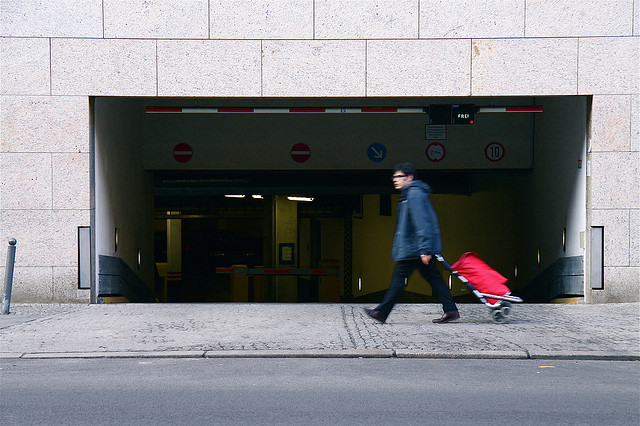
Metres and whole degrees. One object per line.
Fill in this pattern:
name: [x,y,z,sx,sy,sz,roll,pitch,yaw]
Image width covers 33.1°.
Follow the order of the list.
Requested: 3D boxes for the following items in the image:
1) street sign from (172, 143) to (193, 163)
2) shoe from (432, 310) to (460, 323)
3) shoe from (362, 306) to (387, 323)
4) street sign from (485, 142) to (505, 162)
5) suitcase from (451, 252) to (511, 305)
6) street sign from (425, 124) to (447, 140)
street sign: [-2.983,-1.298,23.277,0.477,0.381,0.101,7,11,15]
shoe: [2.107,1.721,18.185,0.442,0.208,0.223,-2,-1,8]
shoe: [0.875,1.688,18.071,0.471,0.164,0.149,24,-3,6]
street sign: [3.765,-1.330,23.191,0.389,0.334,0.052,25,12,17]
suitcase: [2.670,1.129,18.457,0.994,0.770,0.321,43,-20,3]
street sign: [2.477,-1.728,23.138,0.598,0.312,0.308,0,-1,0]
